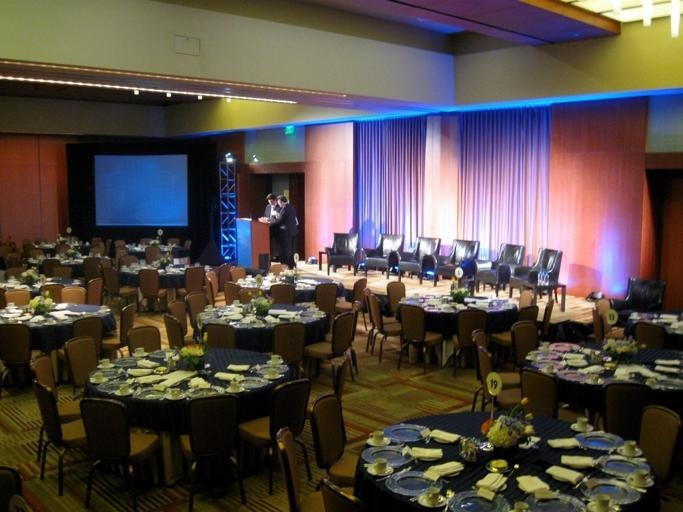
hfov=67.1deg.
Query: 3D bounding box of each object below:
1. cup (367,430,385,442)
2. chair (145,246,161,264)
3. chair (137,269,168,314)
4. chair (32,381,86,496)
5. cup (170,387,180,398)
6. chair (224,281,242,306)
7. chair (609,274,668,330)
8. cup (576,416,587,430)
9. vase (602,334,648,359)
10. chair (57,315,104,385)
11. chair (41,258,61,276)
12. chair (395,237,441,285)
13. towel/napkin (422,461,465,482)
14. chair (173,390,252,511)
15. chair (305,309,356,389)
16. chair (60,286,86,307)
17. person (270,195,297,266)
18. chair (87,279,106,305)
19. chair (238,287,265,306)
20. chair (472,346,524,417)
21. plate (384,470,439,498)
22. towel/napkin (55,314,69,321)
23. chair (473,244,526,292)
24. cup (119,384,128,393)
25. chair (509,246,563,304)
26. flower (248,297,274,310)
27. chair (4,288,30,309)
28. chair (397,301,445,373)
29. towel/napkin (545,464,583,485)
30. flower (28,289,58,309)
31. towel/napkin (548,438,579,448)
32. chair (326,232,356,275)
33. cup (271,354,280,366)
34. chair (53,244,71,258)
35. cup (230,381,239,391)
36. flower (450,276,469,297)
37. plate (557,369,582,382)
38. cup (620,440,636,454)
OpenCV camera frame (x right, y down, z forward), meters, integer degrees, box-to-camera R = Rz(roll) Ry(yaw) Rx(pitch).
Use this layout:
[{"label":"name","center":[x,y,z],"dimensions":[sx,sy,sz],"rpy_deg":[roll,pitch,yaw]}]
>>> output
[{"label":"cup","center":[0.290,1.488,4.233],"dimensions":[0.072,0.083,0.111],"rpy_deg":[-3,-1,-34]},{"label":"chair","center":[-5.144,-0.021,14.030],"dimensions":[0.419,0.818,0.461],"rpy_deg":[-1,6,-19]},{"label":"chair","center":[-4.211,0.738,11.440],"dimensions":[0.559,1.086,0.647],"rpy_deg":[2,11,-5]},{"label":"chair","center":[-2.733,1.779,5.238],"dimensions":[0.539,0.998,0.581],"rpy_deg":[2,2,40]},{"label":"cup","center":[-1.623,1.325,5.002],"dimensions":[0.081,0.061,0.065],"rpy_deg":[-6,11,-33]},{"label":"chair","center":[-2.039,0.705,9.631],"dimensions":[0.297,0.543,0.348],"rpy_deg":[7,15,15]},{"label":"chair","center":[5.523,0.974,9.641],"dimensions":[0.894,1.007,0.880],"rpy_deg":[4,3,-7]},{"label":"cup","center":[2.036,1.431,4.416],"dimensions":[0.101,0.079,0.077],"rpy_deg":[1,5,44]},{"label":"vase","center":[3.148,1.029,5.803],"dimensions":[0.334,0.205,0.337],"rpy_deg":[1,-4,-29]},{"label":"chair","center":[-3.550,1.336,7.274],"dimensions":[0.512,0.959,0.608],"rpy_deg":[5,46,-26]},{"label":"chair","center":[-7.059,0.280,12.505],"dimensions":[0.350,0.538,0.409],"rpy_deg":[3,4,-9]},{"label":"chair","center":[2.145,0.114,14.161],"dimensions":[0.929,1.206,1.034],"rpy_deg":[2,2,-26]},{"label":"towel/napkin","center":[0.738,1.556,3.747],"dimensions":[0.168,0.050,0.125],"rpy_deg":[2,1,-28]},{"label":"chair","center":[-1.231,1.798,4.913],"dimensions":[0.589,1.133,0.587],"rpy_deg":[-2,5,-19]},{"label":"chair","center":[-0.173,1.276,7.550],"dimensions":[0.581,0.950,0.620],"rpy_deg":[-5,10,-37]},{"label":"chair","center":[-4.810,0.722,9.243],"dimensions":[0.302,0.437,0.327],"rpy_deg":[-1,5,-31]},{"label":"person","center":[-1.730,-0.721,15.273],"dimensions":[0.757,2.120,1.073],"rpy_deg":[0,4,4]},{"label":"chair","center":[-4.666,0.687,9.700],"dimensions":[0.284,0.488,0.532],"rpy_deg":[-3,5,-27]},{"label":"chair","center":[-1.595,0.664,9.222],"dimensions":[0.360,0.560,0.423],"rpy_deg":[0,1,-29]},{"label":"chair","center":[1.934,1.507,6.278],"dimensions":[0.525,0.849,0.568],"rpy_deg":[-6,3,-11]},{"label":"plate","center":[0.485,1.604,3.648],"dimensions":[0.344,0.054,0.306],"rpy_deg":[-3,5,-33]},{"label":"towel/napkin","center":[-4.240,0.919,7.798],"dimensions":[0.161,0.051,0.118],"rpy_deg":[13,-4,-29]},{"label":"chair","center":[3.877,0.303,12.645],"dimensions":[1.004,1.252,0.966],"rpy_deg":[0,6,-35]},{"label":"cup","center":[-2.162,1.311,5.102],"dimensions":[0.074,0.074,0.075],"rpy_deg":[1,-2,0]},{"label":"chair","center":[4.443,0.463,11.820],"dimensions":[0.974,1.208,0.972],"rpy_deg":[-3,9,-25]},{"label":"flower","center":[-1.194,0.726,7.689],"dimensions":[0.268,0.221,0.390],"rpy_deg":[-1,4,-13]},{"label":"chair","center":[-5.543,0.717,8.809],"dimensions":[0.323,0.469,0.354],"rpy_deg":[-1,1,-41]},{"label":"chair","center":[1.263,1.234,8.256],"dimensions":[0.550,1.056,0.600],"rpy_deg":[4,10,39]},{"label":"towel/napkin","center":[1.596,1.565,3.692],"dimensions":[0.244,0.052,0.144],"rpy_deg":[2,5,30]},{"label":"flower","center":[-4.875,0.708,8.425],"dimensions":[0.284,0.218,0.244],"rpy_deg":[-5,6,-12]},{"label":"towel/napkin","center":[1.772,1.492,4.106],"dimensions":[0.153,0.034,0.095],"rpy_deg":[-2,8,-2]},{"label":"chair","center":[0.088,-0.100,15.223],"dimensions":[0.962,1.219,0.977],"rpy_deg":[1,0,11]},{"label":"cup","center":[-0.755,1.185,5.846],"dimensions":[0.083,0.090,0.113],"rpy_deg":[-1,-7,1]},{"label":"chair","center":[-7.807,-0.128,14.383],"dimensions":[0.398,0.554,0.437],"rpy_deg":[0,0,-29]},{"label":"cup","center":[-1.073,1.297,5.181],"dimensions":[0.084,0.085,0.085],"rpy_deg":[3,0,0]},{"label":"flower","center":[2.256,0.586,9.859],"dimensions":[0.358,0.233,0.372],"rpy_deg":[0,8,9]},{"label":"plate","center":[2.468,1.292,5.584],"dimensions":[0.237,0.034,0.338],"rpy_deg":[1,4,25]},{"label":"cup","center":[2.195,1.455,3.961],"dimensions":[0.078,0.092,0.130],"rpy_deg":[-5,-6,44]}]
